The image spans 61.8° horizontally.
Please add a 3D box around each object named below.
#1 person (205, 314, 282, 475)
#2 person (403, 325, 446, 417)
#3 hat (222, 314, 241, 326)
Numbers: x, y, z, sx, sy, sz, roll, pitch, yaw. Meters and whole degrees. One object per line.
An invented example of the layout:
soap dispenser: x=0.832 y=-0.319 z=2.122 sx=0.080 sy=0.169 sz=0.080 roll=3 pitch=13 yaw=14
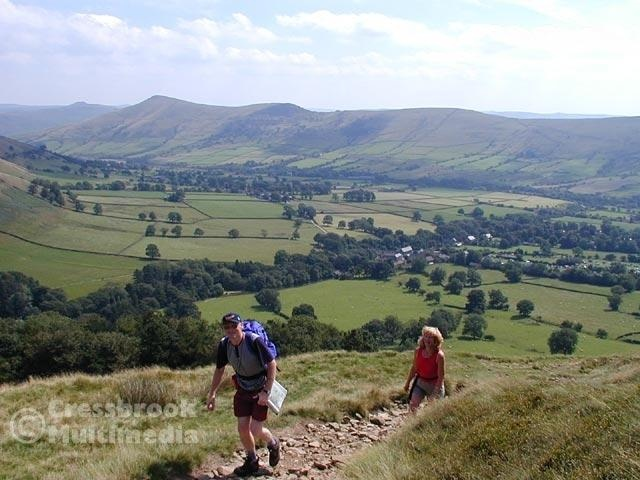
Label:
person: x=-1.915 y=3.970 z=13.822 sx=1.554 sy=4.151 sz=0.701 roll=-1 pitch=-2 yaw=-9
person: x=3.113 y=3.858 z=16.008 sx=1.095 sy=2.538 sz=1.442 roll=-2 pitch=-2 yaw=8
hat: x=-2.282 y=2.042 z=13.802 sx=0.467 sy=0.292 sz=0.382 roll=-1 pitch=-3 yaw=-14
